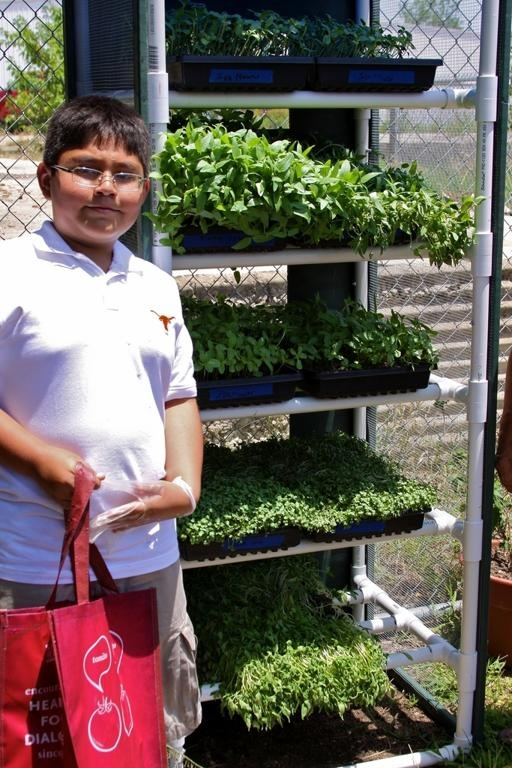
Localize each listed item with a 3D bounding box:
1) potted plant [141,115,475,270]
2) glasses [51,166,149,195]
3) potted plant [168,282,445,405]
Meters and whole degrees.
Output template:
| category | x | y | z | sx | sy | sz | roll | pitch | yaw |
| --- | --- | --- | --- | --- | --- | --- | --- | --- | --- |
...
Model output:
| category | x | y | z | sx | sy | sz | roll | pitch | yaw |
| --- | --- | --- | --- | --- | --- | --- | --- | --- | --- |
| potted plant | 0.120 | -0.428 | 1.739 | 0.673 | 0.213 | 0.435 | -3 | 29 | -32 |
| glasses | -0.265 | -0.353 | 1.166 | 0.153 | 0.043 | 0.086 | -4 | 13 | -16 |
| potted plant | 0.154 | -0.121 | 2.022 | 0.795 | 0.287 | 0.369 | -5 | 13 | -22 |
